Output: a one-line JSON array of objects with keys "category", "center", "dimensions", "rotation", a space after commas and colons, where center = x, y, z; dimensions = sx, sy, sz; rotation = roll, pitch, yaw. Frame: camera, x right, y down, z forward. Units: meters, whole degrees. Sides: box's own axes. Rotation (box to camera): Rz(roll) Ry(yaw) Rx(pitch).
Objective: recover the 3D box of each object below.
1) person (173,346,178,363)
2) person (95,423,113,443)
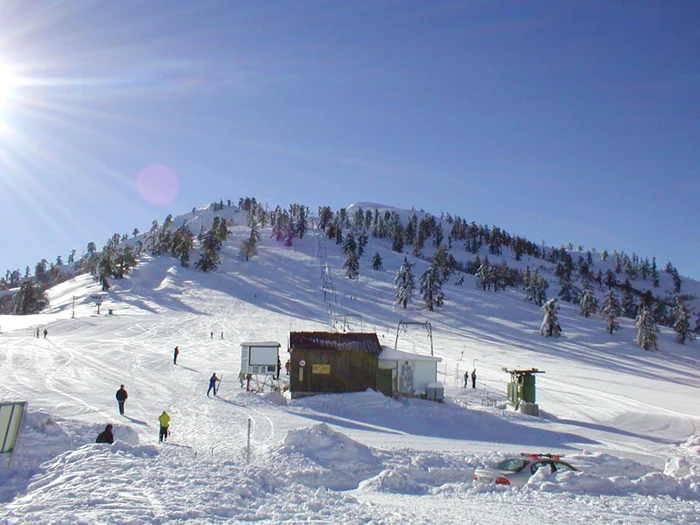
[{"category": "person", "center": [-15.992, 8.513, 79.406], "dimensions": [0.322, 1.424, 2.237], "rotation": [5, -3, -12]}, {"category": "person", "center": [-15.819, 11.082, 55.939], "dimensions": [1.085, 1.223, 0.549], "rotation": [7, -3, -18]}]
